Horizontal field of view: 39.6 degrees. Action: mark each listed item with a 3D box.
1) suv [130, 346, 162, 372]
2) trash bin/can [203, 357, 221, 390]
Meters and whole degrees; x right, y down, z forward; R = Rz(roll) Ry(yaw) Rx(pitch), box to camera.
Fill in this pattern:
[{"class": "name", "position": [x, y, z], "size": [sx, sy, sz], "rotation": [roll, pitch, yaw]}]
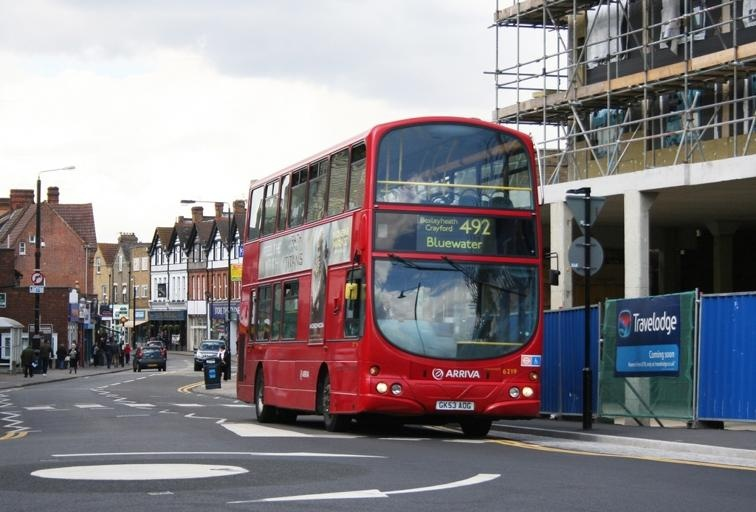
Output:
[{"class": "suv", "position": [-15.160, 6.811, 70.616], "size": [1.984, 1.774, 1.845], "rotation": [0, -6, -15]}, {"class": "trash bin/can", "position": [-7.068, 5.092, 45.663], "size": [0.663, 1.318, 1.210], "rotation": [-1, -6, -12]}]
